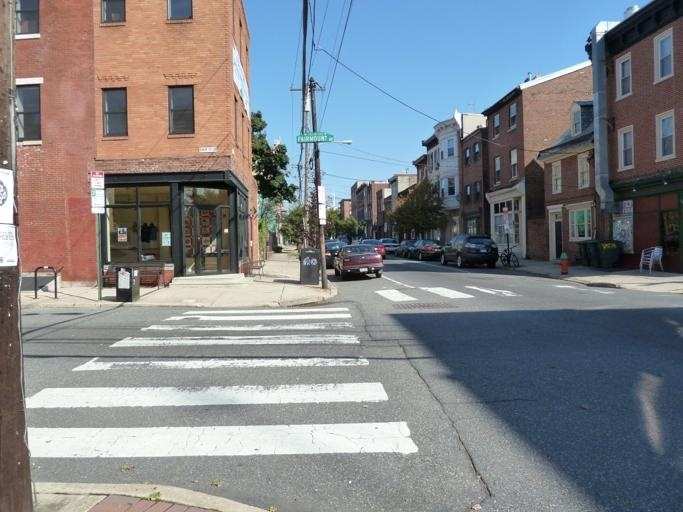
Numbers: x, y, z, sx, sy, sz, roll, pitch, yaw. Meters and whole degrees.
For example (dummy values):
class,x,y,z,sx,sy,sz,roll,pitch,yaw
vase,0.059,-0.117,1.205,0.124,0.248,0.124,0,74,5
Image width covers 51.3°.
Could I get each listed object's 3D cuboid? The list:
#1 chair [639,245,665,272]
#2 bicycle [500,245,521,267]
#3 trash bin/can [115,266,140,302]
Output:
class,x,y,z,sx,sy,sz,roll,pitch,yaw
chair,11.059,0.075,25.547,0.829,1.222,0.821,2,-1,-9
bicycle,7.574,0.095,32.041,0.582,0.752,1.321,-2,1,-9
trash bin/can,-5.657,0.723,18.801,0.586,0.932,0.444,-4,12,-22
